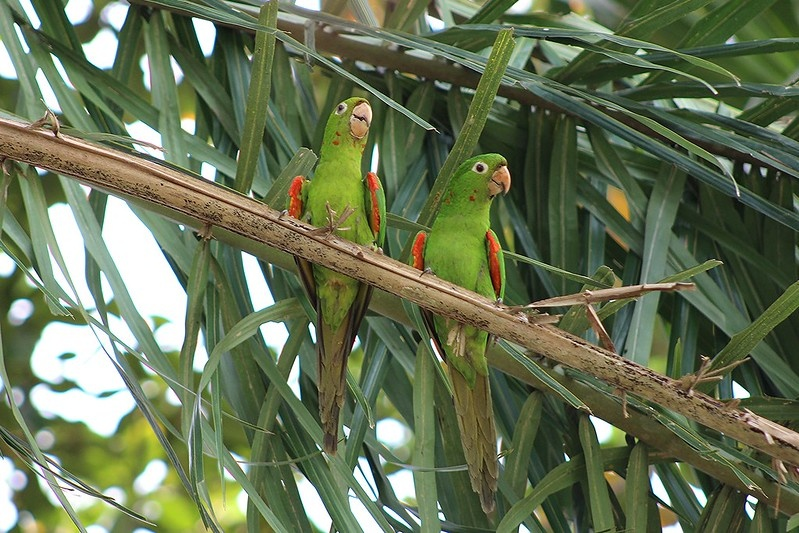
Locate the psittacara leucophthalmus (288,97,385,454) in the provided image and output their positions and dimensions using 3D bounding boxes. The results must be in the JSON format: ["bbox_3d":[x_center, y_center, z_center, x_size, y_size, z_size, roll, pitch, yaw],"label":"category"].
[{"bbox_3d":[-0.233,0.033,4.679,0.376,1.426,0.545,4,-7,-7],"label":"psittacara leucophthalmus"}]

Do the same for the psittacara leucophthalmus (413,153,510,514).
[{"bbox_3d":[0.226,0.272,4.714,0.353,1.561,0.424,0,-10,-7],"label":"psittacara leucophthalmus"}]
